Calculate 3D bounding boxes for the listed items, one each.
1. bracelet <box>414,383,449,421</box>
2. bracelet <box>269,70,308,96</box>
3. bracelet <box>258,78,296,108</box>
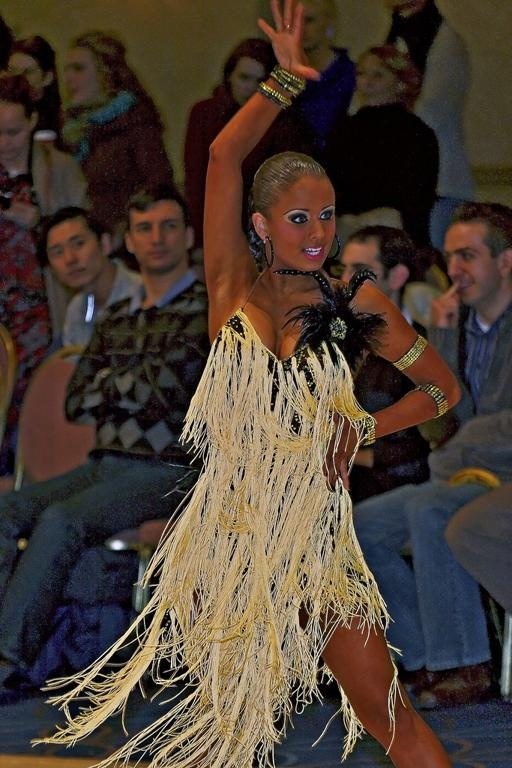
[{"bbox_3d":[0.380,0.039,1.594,0.029,0.071,0.062,-23,40,8],"label":"bracelet"},{"bbox_3d":[0.065,-0.606,1.519,0.064,0.051,0.021,32,41,-2],"label":"bracelet"},{"bbox_3d":[0.038,-0.578,1.509,0.057,0.025,0.066,41,6,30],"label":"bracelet"}]
